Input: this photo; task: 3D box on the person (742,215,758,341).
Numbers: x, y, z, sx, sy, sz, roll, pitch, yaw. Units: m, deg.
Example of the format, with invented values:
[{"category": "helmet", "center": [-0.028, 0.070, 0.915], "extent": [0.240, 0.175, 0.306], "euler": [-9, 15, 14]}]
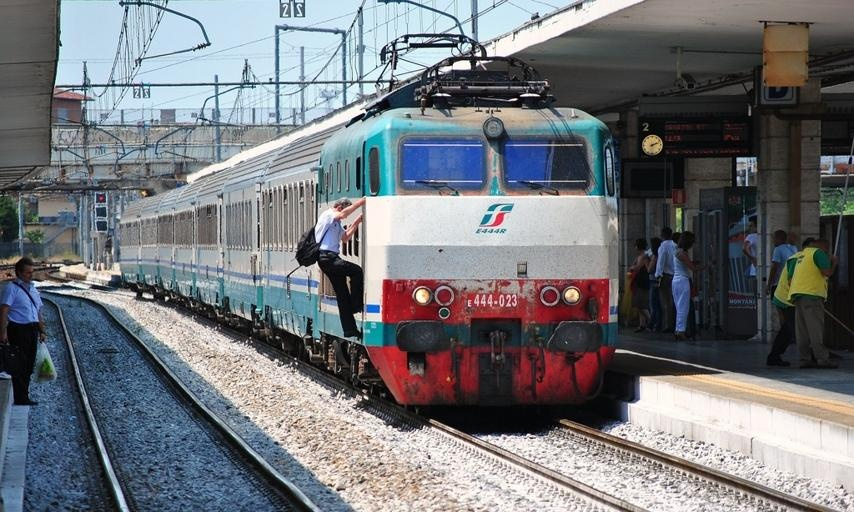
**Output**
[{"category": "person", "center": [6.951, 0.133, 19.834], "extent": [0.349, 2.038, 0.627], "euler": [1, 3, 18]}]

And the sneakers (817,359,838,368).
[{"category": "sneakers", "center": [7.145, 1.920, 16.492], "extent": [0.428, 0.122, 0.133], "euler": [-1, 3, -16]}]

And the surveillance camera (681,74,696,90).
[{"category": "surveillance camera", "center": [5.627, -3.813, 19.979], "extent": [0.298, 0.385, 0.612], "euler": [1, 3, 15]}]

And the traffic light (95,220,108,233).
[{"category": "traffic light", "center": [-26.008, -2.478, 73.918], "extent": [0.824, 0.890, 0.674], "euler": [-1, 4, -21]}]

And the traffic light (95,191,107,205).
[{"category": "traffic light", "center": [-26.048, -4.612, 73.828], "extent": [0.827, 0.995, 1.122], "euler": [-1, 3, -19]}]

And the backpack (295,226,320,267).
[{"category": "backpack", "center": [-2.032, -0.122, 15.815], "extent": [0.635, 0.633, 0.436], "euler": [1, -1, -5]}]

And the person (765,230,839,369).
[{"category": "person", "center": [6.740, 0.832, 16.575], "extent": [1.009, 2.301, 0.520], "euler": [2, 4, 37]}]
